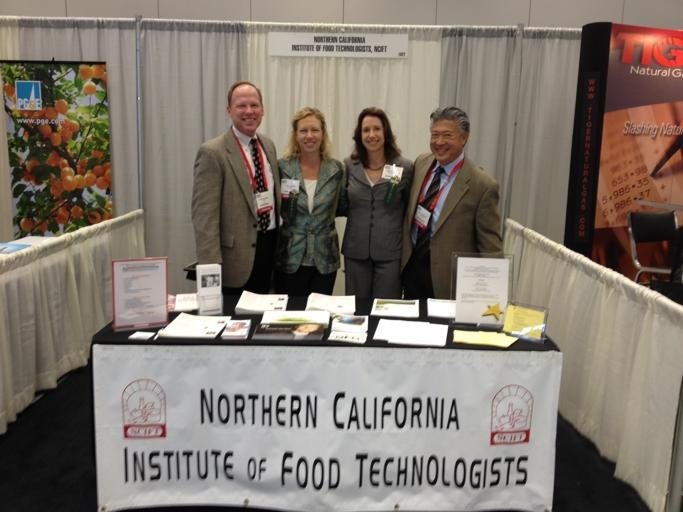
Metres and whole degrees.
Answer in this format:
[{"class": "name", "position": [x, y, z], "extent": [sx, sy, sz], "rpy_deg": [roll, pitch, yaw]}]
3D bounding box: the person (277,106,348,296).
[{"class": "person", "position": [-0.225, -0.362, 4.012], "extent": [0.505, 1.279, 0.491], "rpy_deg": [1, 15, 0]}]

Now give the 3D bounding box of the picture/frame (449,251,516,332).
[{"class": "picture/frame", "position": [0.757, 0.180, 3.073], "extent": [0.293, 0.480, 0.033], "rpy_deg": [4, 36, 14]}]

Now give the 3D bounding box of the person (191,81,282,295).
[{"class": "person", "position": [-0.694, -0.292, 3.841], "extent": [0.611, 1.157, 0.423], "rpy_deg": [-5, 16, -21]}]

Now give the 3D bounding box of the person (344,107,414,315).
[{"class": "person", "position": [0.230, -0.146, 4.166], "extent": [0.466, 1.778, 0.550], "rpy_deg": [4, 30, 10]}]

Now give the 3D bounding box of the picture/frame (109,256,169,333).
[{"class": "picture/frame", "position": [-1.061, 0.203, 2.998], "extent": [0.274, 0.035, 0.433], "rpy_deg": [-2, 54, -19]}]

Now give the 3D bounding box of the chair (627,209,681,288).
[{"class": "chair", "position": [2.749, -0.048, 5.049], "extent": [0.395, 0.742, 0.800], "rpy_deg": [10, 19, 31]}]
